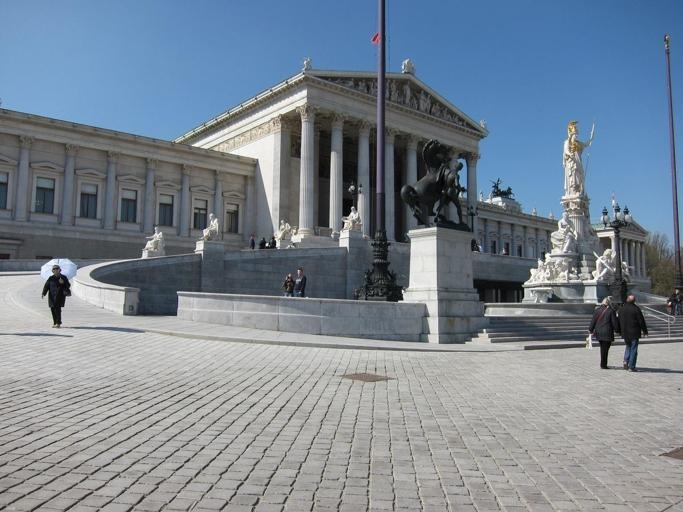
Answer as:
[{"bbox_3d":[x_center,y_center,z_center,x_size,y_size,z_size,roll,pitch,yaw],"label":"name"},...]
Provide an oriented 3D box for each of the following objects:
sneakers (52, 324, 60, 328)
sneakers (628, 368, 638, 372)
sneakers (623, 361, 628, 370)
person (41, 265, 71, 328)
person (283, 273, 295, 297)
[{"bbox_3d":[-7.536,1.856,17.163,0.134,0.098,0.305,-9,1,-28],"label":"sneakers"},{"bbox_3d":[6.785,2.667,15.106,0.218,0.088,0.072,2,-5,-26],"label":"sneakers"},{"bbox_3d":[6.660,2.613,15.220,0.060,0.069,0.176,-1,-40,33],"label":"sneakers"},{"bbox_3d":[-7.774,1.059,17.724,0.639,1.216,1.987,2,1,-24],"label":"person"},{"bbox_3d":[-2.133,1.210,26.641,0.407,0.808,1.441,2,1,-5],"label":"person"}]
